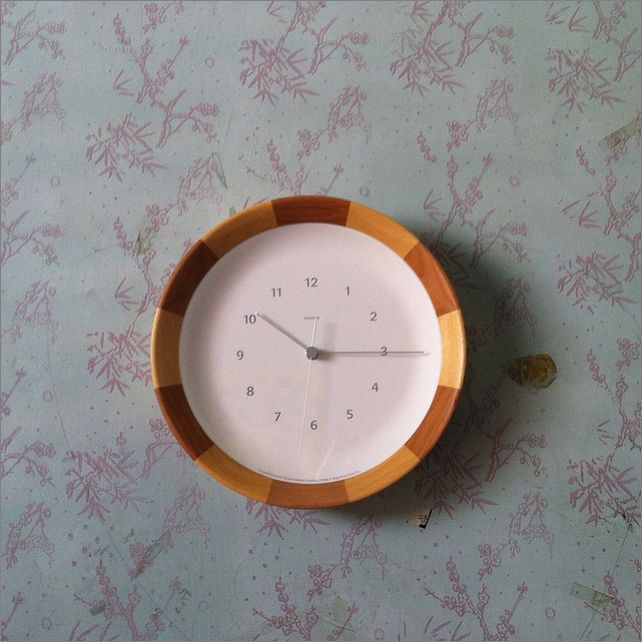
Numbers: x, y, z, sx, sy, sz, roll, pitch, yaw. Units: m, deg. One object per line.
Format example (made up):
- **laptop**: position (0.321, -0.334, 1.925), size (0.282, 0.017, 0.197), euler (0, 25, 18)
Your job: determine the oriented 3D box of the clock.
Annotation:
- **clock**: position (-0.030, 0.058, 1.451), size (0.621, 0.078, 0.617), euler (18, 84, 3)
